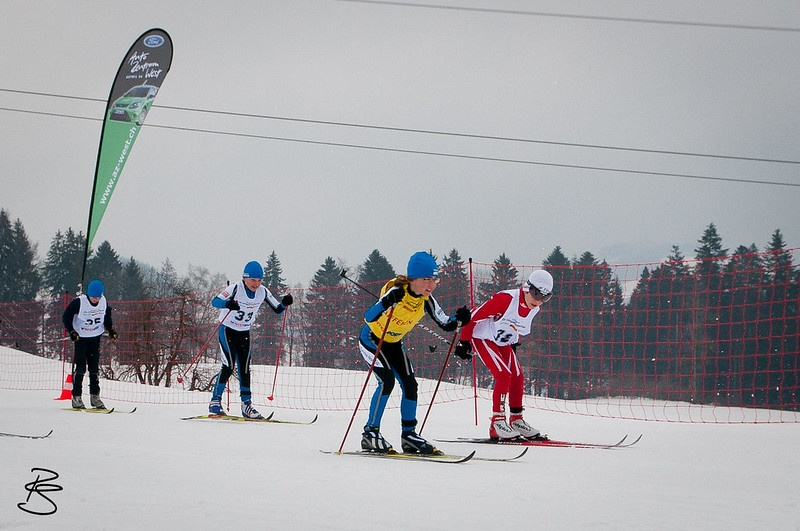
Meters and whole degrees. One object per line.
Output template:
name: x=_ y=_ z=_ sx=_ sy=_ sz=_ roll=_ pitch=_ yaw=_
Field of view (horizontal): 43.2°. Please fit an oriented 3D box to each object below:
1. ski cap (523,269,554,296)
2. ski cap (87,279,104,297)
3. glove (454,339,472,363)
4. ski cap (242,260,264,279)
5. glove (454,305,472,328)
ski cap: x=2.841 y=0.281 z=20.304 sx=0.374 sy=0.471 sz=0.519 roll=29 pitch=15 yaw=-13
ski cap: x=-6.881 y=0.478 z=23.031 sx=0.326 sy=0.254 sz=0.459 roll=12 pitch=21 yaw=-18
glove: x=1.297 y=1.712 z=20.225 sx=0.344 sy=0.350 sz=0.083 roll=10 pitch=-1 yaw=34
ski cap: x=-3.157 y=0.120 z=21.972 sx=0.401 sy=0.418 sz=0.541 roll=0 pitch=3 yaw=-6
glove: x=1.272 y=1.010 z=19.906 sx=0.276 sy=0.398 sz=0.128 roll=11 pitch=5 yaw=4
